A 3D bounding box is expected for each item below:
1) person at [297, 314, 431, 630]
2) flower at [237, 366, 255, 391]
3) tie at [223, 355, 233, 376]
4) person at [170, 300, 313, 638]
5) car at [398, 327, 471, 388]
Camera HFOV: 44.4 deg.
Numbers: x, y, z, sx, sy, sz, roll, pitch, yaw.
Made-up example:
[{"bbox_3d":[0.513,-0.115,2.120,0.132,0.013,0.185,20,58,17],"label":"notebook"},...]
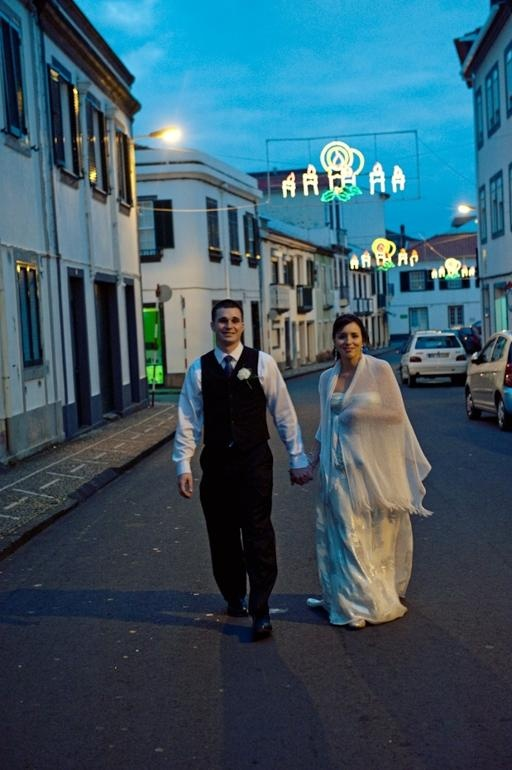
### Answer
[{"bbox_3d":[0.717,0.411,3.815,0.778,1.731,0.673,-3,4,-18],"label":"person"},{"bbox_3d":[-0.047,-0.070,3.564,0.043,0.121,0.118,-7,34,43],"label":"flower"},{"bbox_3d":[-0.153,-0.146,3.581,0.032,0.117,0.033,-23,-46,26],"label":"tie"},{"bbox_3d":[-0.090,0.395,3.681,0.636,1.818,0.658,1,5,33],"label":"person"},{"bbox_3d":[6.845,-1.325,24.621,1.466,1.522,2.922,-1,6,5],"label":"car"}]
